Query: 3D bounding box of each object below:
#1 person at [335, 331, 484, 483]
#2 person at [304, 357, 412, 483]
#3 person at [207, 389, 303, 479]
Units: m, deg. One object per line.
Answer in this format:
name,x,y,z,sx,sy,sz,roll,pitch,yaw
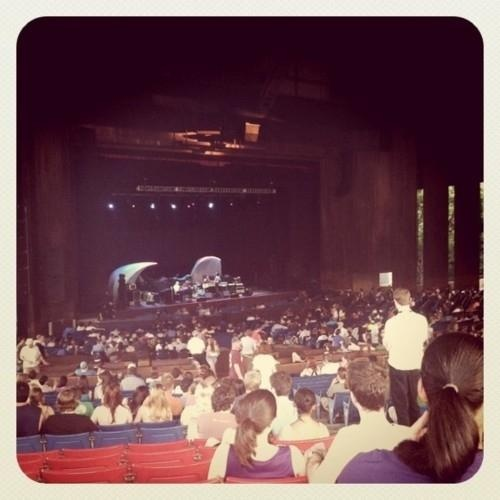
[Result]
person,1.775,1.765,5.851,1.110,1.280,0.636,-3,18,11
person,1.282,2.211,6.251,1.126,1.944,0.971,-2,10,-4
person,0.052,2.043,5.612,0.846,1.324,0.705,7,25,16
